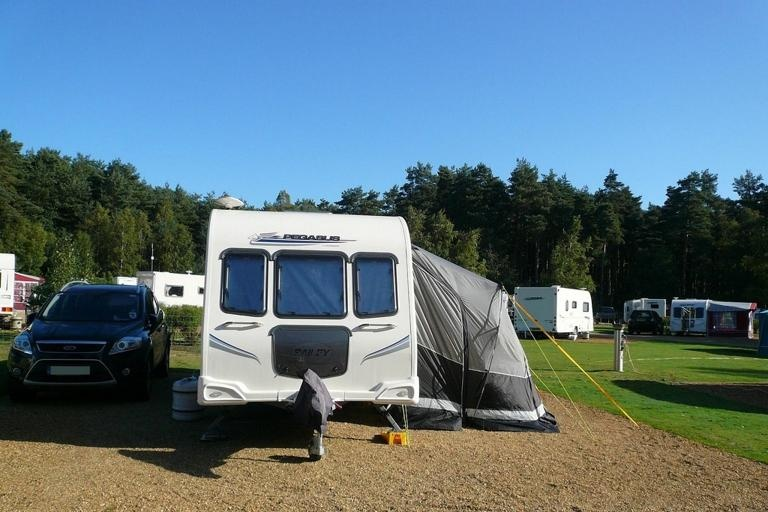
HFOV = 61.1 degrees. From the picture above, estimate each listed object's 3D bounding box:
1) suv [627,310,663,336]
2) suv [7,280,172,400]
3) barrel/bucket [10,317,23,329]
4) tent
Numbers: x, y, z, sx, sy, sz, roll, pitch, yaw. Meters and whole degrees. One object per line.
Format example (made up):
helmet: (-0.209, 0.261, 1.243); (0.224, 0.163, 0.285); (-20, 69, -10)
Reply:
suv: (17.049, 4.400, 42.593); (1.496, 1.236, 3.291); (-1, -2, 23)
suv: (-5.924, 1.679, 13.757); (1.831, 1.509, 3.468); (0, -9, -6)
barrel/bucket: (-17.375, 3.228, 31.040); (0.525, 0.521, 0.535); (10, 6, -1)
tent: (1.594, 1.626, 13.383); (3.310, 2.527, 3.242); (1, -3, -7)
